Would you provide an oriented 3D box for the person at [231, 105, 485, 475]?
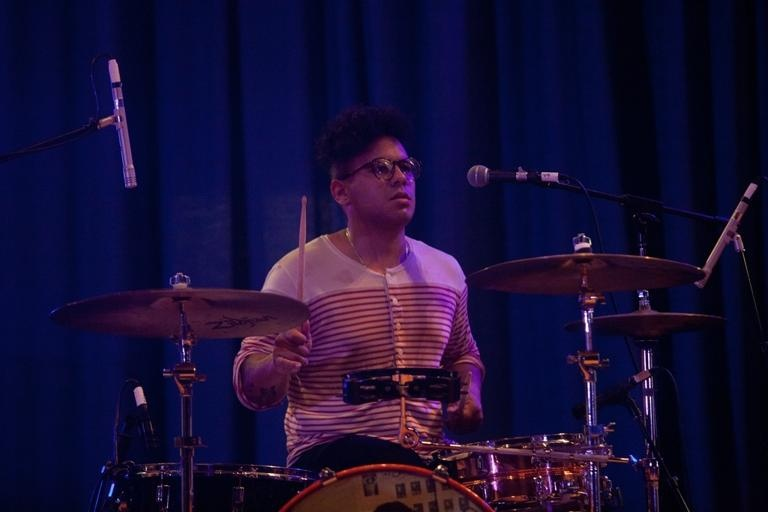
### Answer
[{"bbox_3d":[-0.102,0.173,6.037,1.246,1.816,0.849,3,-30,-7],"label":"person"}]

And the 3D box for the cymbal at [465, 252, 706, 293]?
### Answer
[{"bbox_3d":[0.971,0.110,5.831,1.131,0.130,0.488,-2,-28,3],"label":"cymbal"}]

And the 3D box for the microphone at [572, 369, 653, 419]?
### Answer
[{"bbox_3d":[1.182,0.718,6.280,0.499,0.122,0.146,-23,-46,13],"label":"microphone"}]

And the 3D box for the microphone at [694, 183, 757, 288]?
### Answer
[{"bbox_3d":[1.898,-0.084,6.717,0.119,0.629,0.117,30,11,16],"label":"microphone"}]

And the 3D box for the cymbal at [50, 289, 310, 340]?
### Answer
[{"bbox_3d":[-0.943,0.265,5.633,1.181,0.195,0.560,0,-28,-2],"label":"cymbal"}]
